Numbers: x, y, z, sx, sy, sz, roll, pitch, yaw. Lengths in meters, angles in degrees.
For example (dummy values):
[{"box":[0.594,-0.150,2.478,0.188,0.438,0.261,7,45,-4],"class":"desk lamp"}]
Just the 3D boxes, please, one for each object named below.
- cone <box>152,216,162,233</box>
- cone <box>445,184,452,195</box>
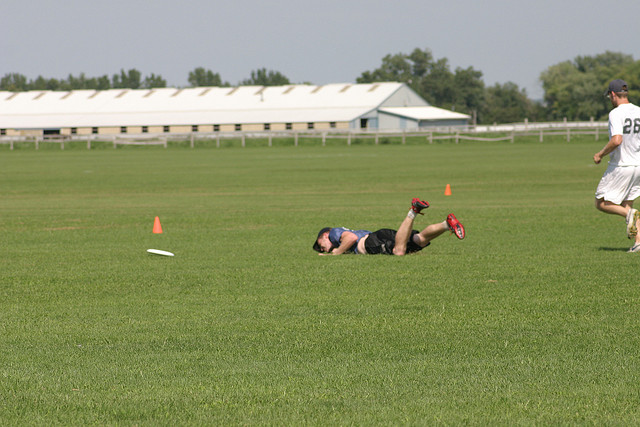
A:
[{"box":[-5.089,0.313,45.066,0.298,0.451,0.890,0,5,-7],"class":"cone"},{"box":[4.734,-0.896,53.451,0.349,0.399,0.332,0,-3,-4],"class":"cone"}]
